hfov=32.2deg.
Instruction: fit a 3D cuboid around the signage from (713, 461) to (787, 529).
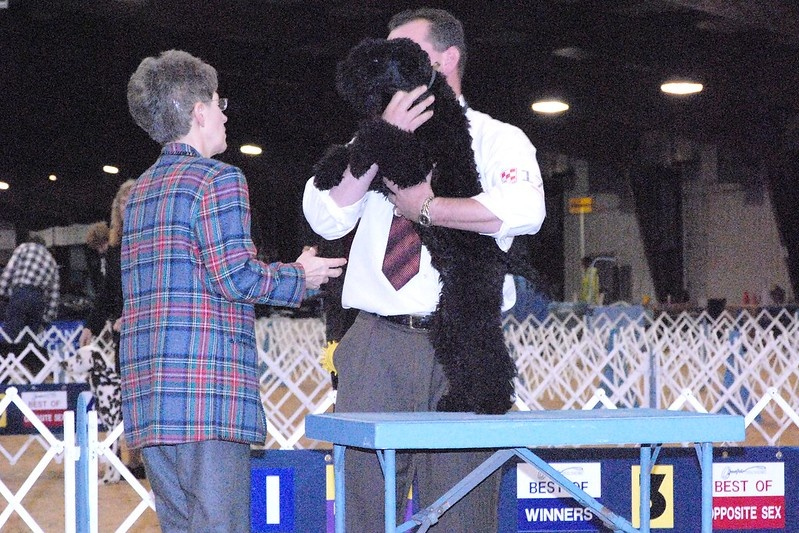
[{"bbox_3d":[3.270,2.198,12.981,0.692,0.612,0.073,-2,2,-4],"label":"signage"}]
